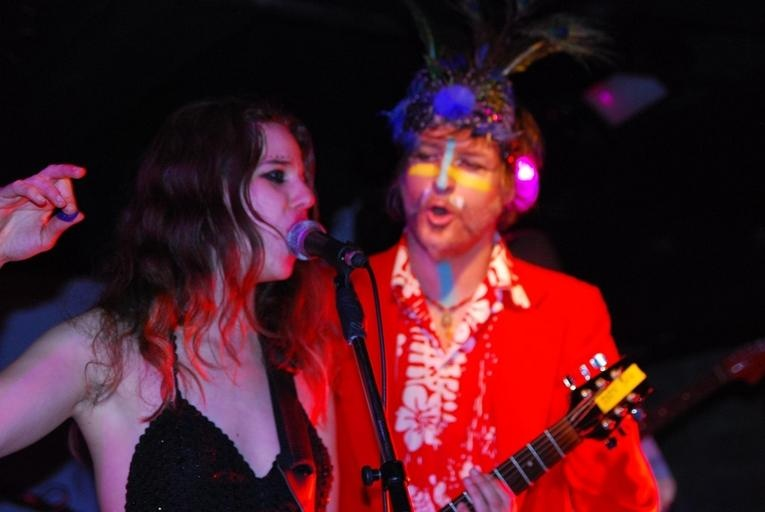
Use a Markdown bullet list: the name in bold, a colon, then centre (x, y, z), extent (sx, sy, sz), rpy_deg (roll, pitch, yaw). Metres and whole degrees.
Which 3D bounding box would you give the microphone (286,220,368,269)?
- **microphone**: centre (-0.210, -0.039, 2.941), extent (0.379, 0.188, 0.091), rpy_deg (-2, -13, 43)

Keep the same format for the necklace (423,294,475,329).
- **necklace**: centre (0.278, 0.245, 3.455), extent (0.134, 0.157, 0.059), rpy_deg (3, 3, 11)
